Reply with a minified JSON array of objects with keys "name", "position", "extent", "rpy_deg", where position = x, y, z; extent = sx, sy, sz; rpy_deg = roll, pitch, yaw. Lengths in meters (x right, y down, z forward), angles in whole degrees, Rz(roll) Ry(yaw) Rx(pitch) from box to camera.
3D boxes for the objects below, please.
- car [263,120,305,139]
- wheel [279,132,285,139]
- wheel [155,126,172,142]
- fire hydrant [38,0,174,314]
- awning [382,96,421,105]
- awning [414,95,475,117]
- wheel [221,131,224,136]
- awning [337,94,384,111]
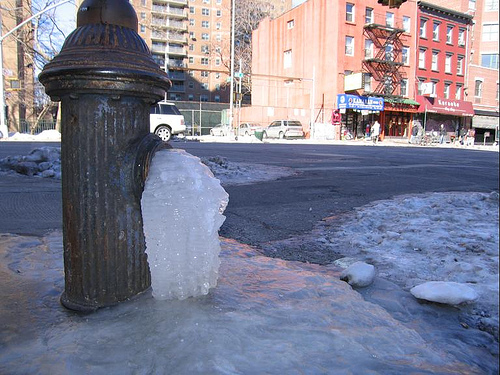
[{"name":"car","position":[2.671,-4.733,37.339],"extent":[1.389,1.542,3.354],"rpy_deg":[-9,16,-40]},{"name":"wheel","position":[2.647,-4.295,37.242],"extent":[0.366,0.532,0.779],"rpy_deg":[-3,13,-19]},{"name":"wheel","position":[-3.833,-2.426,20.482],"extent":[0.689,0.635,0.562],"rpy_deg":[-2,12,-12]},{"name":"fire hydrant","position":[-0.842,-0.188,2.709],"extent":[0.661,1.791,0.427],"rpy_deg":[-3,11,-21]},{"name":"awning","position":[14.371,-8.267,43.572],"extent":[4.737,0.739,0.605],"rpy_deg":[-6,13,-29]},{"name":"awning","position":[19.759,-8.422,46.674],"extent":[7.772,1.990,0.884],"rpy_deg":[-6,13,-29]},{"name":"wheel","position":[-2.464,-4.861,40.878],"extent":[0.288,0.618,0.386],"rpy_deg":[-1,6,11]},{"name":"awning","position":[9.802,-7.544,40.270],"extent":[4.525,1.364,0.988],"rpy_deg":[-6,13,-29]}]
